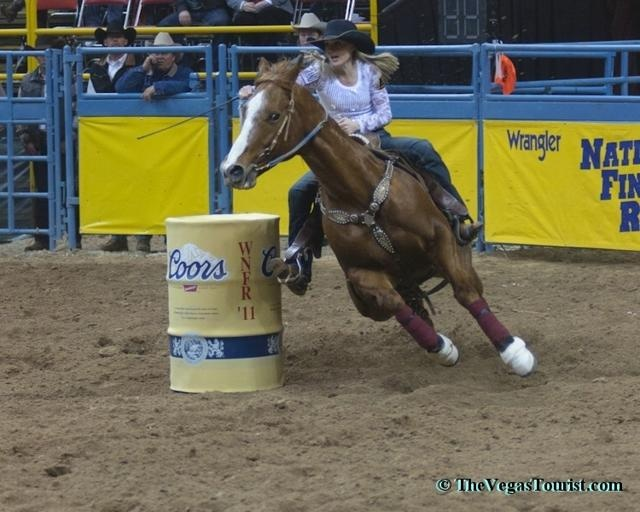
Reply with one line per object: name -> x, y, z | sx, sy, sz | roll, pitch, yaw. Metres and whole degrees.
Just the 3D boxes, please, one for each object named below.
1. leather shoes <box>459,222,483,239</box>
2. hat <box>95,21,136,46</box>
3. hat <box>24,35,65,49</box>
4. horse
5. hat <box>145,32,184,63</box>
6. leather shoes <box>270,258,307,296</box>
leather shoes -> 1.233, -0.203, 9.803 | 0.160, 0.124, 0.074 | 21, -17, 43
hat -> -2.570, -2.812, 15.133 | 0.440, 0.145, 0.424 | 0, -11, -11
hat -> -3.658, -2.875, 16.016 | 0.508, 0.115, 0.452 | -1, 3, -2
horse -> 0.606, -0.263, 10.078 | 1.201, 2.369, 3.671 | -18, -16, 28
hat -> -1.870, -2.637, 14.751 | 0.383, 0.171, 0.456 | -1, -14, 0
leather shoes -> -0.271, 0.166, 9.828 | 0.157, 0.151, 0.472 | 41, 0, 24
